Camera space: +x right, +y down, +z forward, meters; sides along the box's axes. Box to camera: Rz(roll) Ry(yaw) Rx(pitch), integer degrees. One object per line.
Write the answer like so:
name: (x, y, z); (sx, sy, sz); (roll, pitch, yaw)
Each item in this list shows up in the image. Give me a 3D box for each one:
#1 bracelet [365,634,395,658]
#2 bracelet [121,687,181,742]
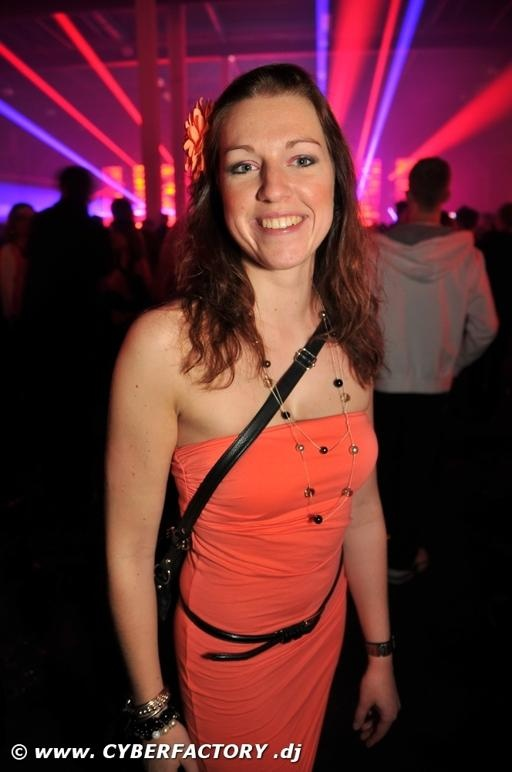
bracelet: (0.378, 0.796, 2.075); (0.062, 0.062, 0.061); (6, -11, -35)
bracelet: (-0.266, 0.849, 1.803); (0.110, 0.096, 0.143); (-24, 7, 12)
